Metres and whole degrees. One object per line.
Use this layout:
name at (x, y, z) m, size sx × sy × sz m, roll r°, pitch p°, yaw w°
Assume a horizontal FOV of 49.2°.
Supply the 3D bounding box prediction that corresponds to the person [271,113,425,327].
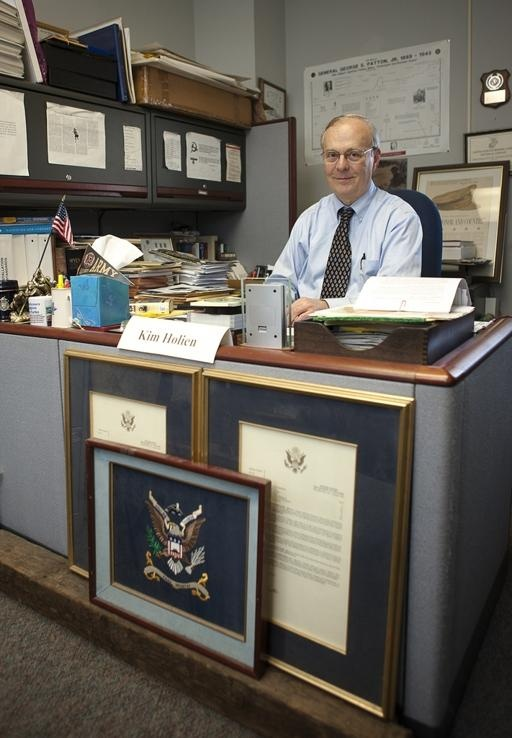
person at (0.290, -0.407, 1.938) m, size 0.533 × 0.897 × 0.443 m, roll 5°, pitch 13°, yaw 24°

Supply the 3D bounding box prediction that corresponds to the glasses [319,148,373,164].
glasses at (0.302, -0.703, 1.836) m, size 0.161 × 0.058 × 0.072 m, roll 3°, pitch 8°, yaw 9°

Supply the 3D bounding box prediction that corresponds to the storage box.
storage box at (-0.664, -1.125, 2.101) m, size 0.173 × 0.129 × 0.259 m, roll 14°, pitch 26°, yaw 27°

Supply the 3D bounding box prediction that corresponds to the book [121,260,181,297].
book at (-0.406, -0.355, 2.180) m, size 0.066 × 0.118 × 0.293 m, roll 5°, pitch 8°, yaw 25°

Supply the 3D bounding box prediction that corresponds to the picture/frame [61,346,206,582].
picture/frame at (-0.219, 0.168, 1.035) m, size 0.420 × 0.555 × 0.039 m, roll 4°, pitch 4°, yaw 33°

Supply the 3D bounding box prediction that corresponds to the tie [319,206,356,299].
tie at (0.274, -0.354, 1.905) m, size 0.104 × 0.419 × 0.021 m, roll 4°, pitch -11°, yaw 26°

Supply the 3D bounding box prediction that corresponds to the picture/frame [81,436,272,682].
picture/frame at (-0.127, 0.330, 0.962) m, size 0.392 × 0.339 × 0.033 m, roll 5°, pitch 6°, yaw 36°
